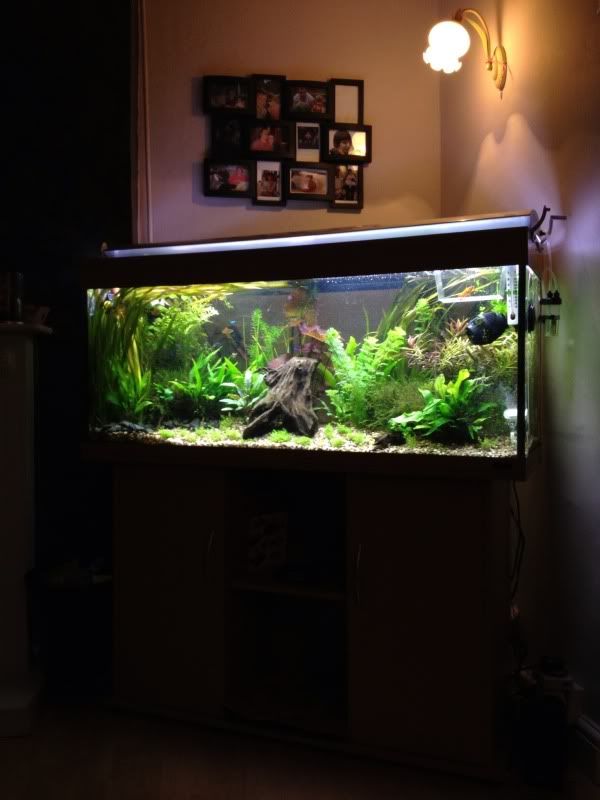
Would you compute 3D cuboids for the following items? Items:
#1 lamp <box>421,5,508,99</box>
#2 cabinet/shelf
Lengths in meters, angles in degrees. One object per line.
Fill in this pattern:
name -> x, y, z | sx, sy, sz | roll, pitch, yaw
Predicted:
lamp -> 0.605, -1.348, 2.664 | 0.292, 0.379, 0.425 | -1, 5, -5
cabinet/shelf -> 0.040, 0.561, 2.281 | 1.308, 0.890, 0.547 | 1, 4, 20
